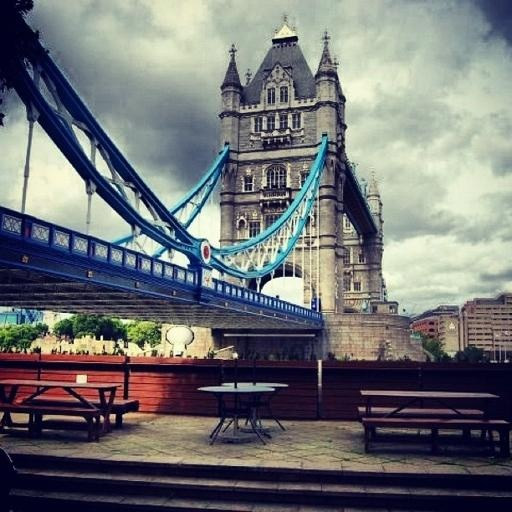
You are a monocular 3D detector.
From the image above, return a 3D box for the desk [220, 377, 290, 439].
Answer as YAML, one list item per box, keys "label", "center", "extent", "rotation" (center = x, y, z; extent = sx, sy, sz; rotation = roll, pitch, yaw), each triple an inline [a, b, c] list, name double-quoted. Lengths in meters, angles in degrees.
- label: "desk"
  center: [0.048, 3.078, 13.090]
  extent: [1.139, 0.760, 1.159]
  rotation: [-6, -10, 6]
